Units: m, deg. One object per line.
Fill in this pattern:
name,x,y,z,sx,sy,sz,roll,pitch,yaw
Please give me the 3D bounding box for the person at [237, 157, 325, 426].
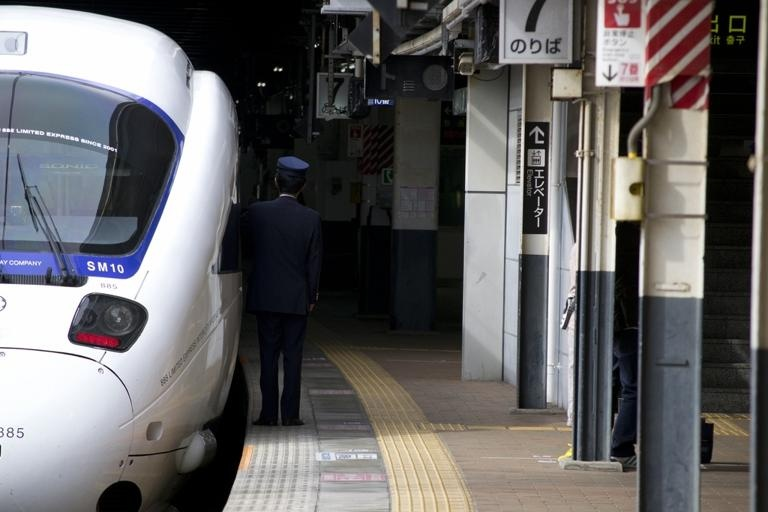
person,-0.968,0.356,9.319,0.725,2.474,0.412,1,5,-6
